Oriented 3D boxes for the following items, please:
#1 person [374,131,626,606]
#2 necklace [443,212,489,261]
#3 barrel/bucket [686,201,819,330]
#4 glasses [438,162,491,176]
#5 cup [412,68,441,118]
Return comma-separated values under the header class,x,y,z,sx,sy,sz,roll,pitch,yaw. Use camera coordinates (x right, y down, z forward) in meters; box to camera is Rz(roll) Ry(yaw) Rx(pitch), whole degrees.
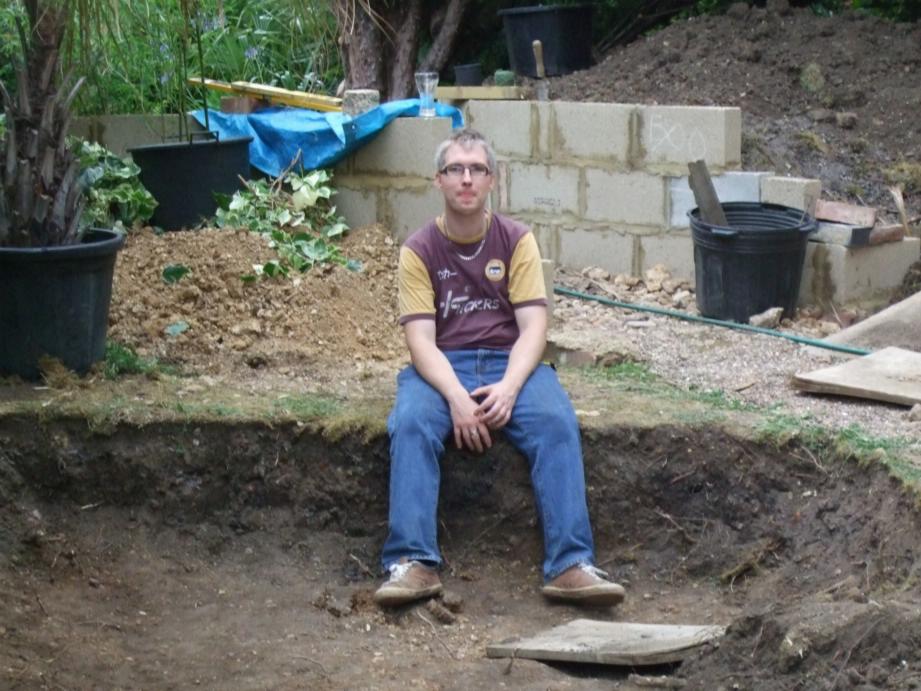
class,x,y,z,sx,sy,sz,roll,pitch,yaw
person,0.132,0.128,9.181,1.197,2.715,0.865,-2,9,4
necklace,0.049,-0.643,9.307,0.164,0.273,0.091,1,8,0
barrel/bucket,2.046,-0.578,11.695,0.764,0.785,0.813,4,14,-1
glasses,0.017,-1.032,9.225,0.282,0.086,0.072,-3,9,1
cup,-0.280,-2.004,12.596,0.153,0.347,0.545,-3,9,-2
